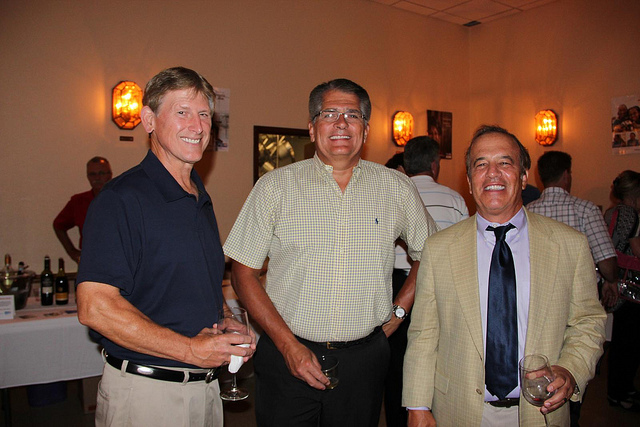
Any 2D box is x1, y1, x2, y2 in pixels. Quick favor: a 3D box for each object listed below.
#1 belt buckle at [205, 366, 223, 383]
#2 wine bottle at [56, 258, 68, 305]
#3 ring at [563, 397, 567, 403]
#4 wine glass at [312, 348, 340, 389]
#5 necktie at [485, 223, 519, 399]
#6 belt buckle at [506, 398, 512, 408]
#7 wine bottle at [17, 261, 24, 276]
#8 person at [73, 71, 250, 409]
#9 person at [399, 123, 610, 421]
[{"bbox_3d":[-0.608,0.949,3.001,0.108,0.040,0.085,-32,-23,-28],"label":"belt buckle"},{"bbox_3d":[-2.301,0.643,4.544,0.093,0.315,0.147,-5,8,-20],"label":"wine bottle"},{"bbox_3d":[1.405,1.075,2.945,0.035,0.039,0.009,5,-8,-27],"label":"ring"},{"bbox_3d":[0.042,0.931,3.099,0.191,0.234,0.213,-7,-12,1],"label":"wine glass"},{"bbox_3d":[1.094,0.584,3.093,0.185,1.005,0.270,0,8,19],"label":"necktie"},{"bbox_3d":[1.128,1.135,3.055,0.030,0.047,0.017,-1,6,8],"label":"belt buckle"},{"bbox_3d":[-2.699,0.499,4.610,0.047,0.151,0.055,-1,-2,-27],"label":"wine bottle"},{"bbox_3d":[-0.913,0.179,2.996,0.921,2.017,0.573,-4,8,-11],"label":"person"},{"bbox_3d":[1.097,0.374,3.085,1.091,1.792,0.700,2,9,30],"label":"person"}]
